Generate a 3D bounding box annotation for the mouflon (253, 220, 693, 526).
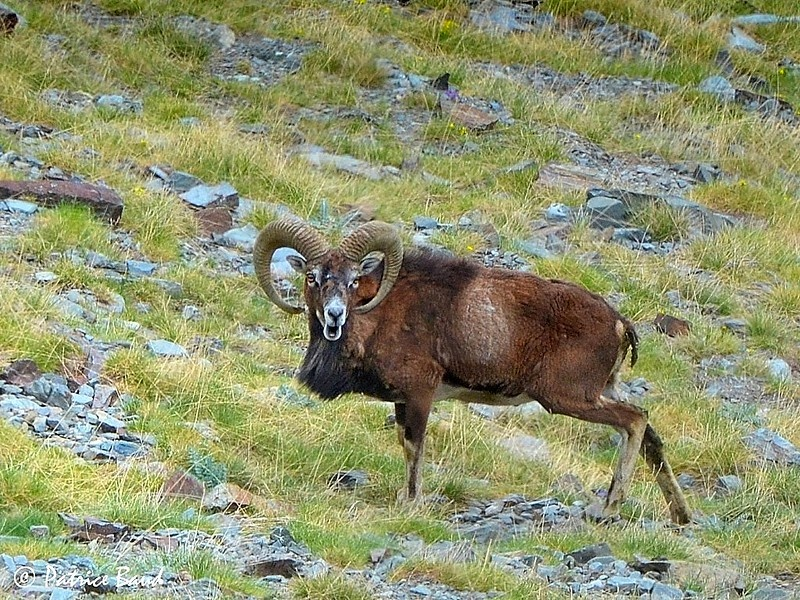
[{"bbox_3d":[0.738,0.797,13.753,4.376,2.920,1.315,4,5,8],"label":"mouflon"}]
